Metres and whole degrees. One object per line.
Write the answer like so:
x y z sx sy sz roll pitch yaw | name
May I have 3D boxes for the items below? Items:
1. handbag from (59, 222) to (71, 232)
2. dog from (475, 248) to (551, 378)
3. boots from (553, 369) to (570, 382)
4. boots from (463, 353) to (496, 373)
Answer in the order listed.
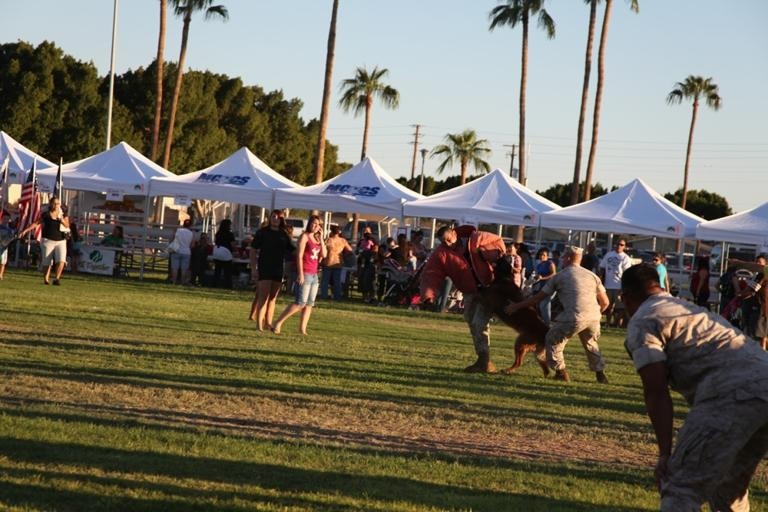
-8.540 -0.736 31.420 0.258 0.191 0.341 1 21 -6 | handbag
2.551 1.203 22.563 1.187 2.325 1.413 6 4 26 | dog
3.476 2.379 22.937 0.257 0.269 0.229 -4 -2 36 | boots
1.924 2.152 23.125 0.675 0.496 0.290 4 -2 1 | boots
